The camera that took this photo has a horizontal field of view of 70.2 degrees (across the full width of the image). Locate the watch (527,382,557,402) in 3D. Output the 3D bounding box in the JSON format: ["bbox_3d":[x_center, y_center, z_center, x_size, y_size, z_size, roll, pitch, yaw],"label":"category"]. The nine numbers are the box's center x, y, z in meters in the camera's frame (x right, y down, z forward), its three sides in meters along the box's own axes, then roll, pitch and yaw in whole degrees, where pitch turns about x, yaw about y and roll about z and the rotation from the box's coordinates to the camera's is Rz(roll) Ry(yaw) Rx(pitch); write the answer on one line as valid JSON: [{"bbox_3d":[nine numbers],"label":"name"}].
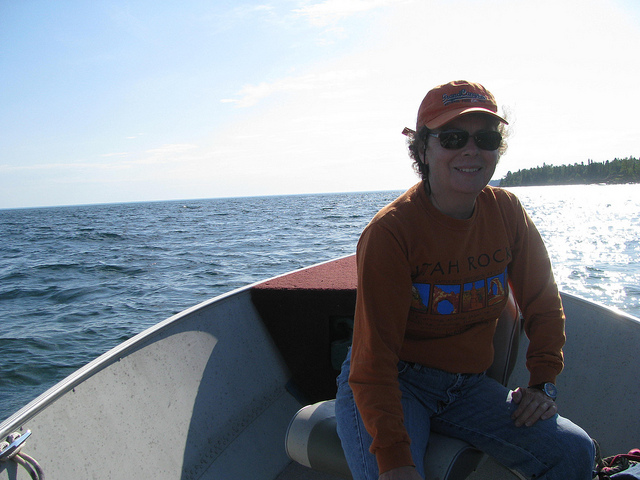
[{"bbox_3d":[1.038,0.705,2.111,0.074,0.076,0.073,11,-8,-40],"label":"watch"}]

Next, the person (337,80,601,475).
[{"bbox_3d":[0.652,0.142,2.066,1.145,1.727,0.641,-4,7,-13],"label":"person"}]

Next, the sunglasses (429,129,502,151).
[{"bbox_3d":[0.677,-0.459,2.102,0.329,0.105,0.080,-4,7,-7],"label":"sunglasses"}]
